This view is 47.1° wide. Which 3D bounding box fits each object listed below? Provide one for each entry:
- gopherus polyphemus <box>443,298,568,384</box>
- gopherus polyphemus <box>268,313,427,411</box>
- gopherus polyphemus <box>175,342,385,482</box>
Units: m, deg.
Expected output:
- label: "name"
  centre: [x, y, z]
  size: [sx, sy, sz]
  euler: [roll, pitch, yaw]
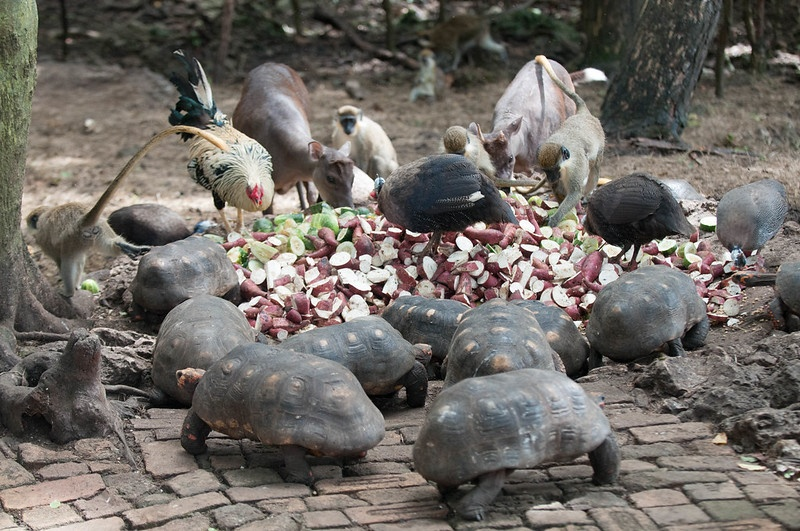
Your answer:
- label: "gopherus polyphemus"
  centre: [0.792, 0.619, 7.599]
  size: [1.009, 0.610, 1.135]
  euler: [2, -3, 2]
- label: "gopherus polyphemus"
  centre: [-0.406, 0.791, 7.684]
  size: [1.240, 0.509, 0.616]
  euler: [5, 11, -11]
- label: "gopherus polyphemus"
  centre: [-0.946, 1.127, 7.260]
  size: [1.462, 0.961, 1.324]
  euler: [2, 0, -21]
